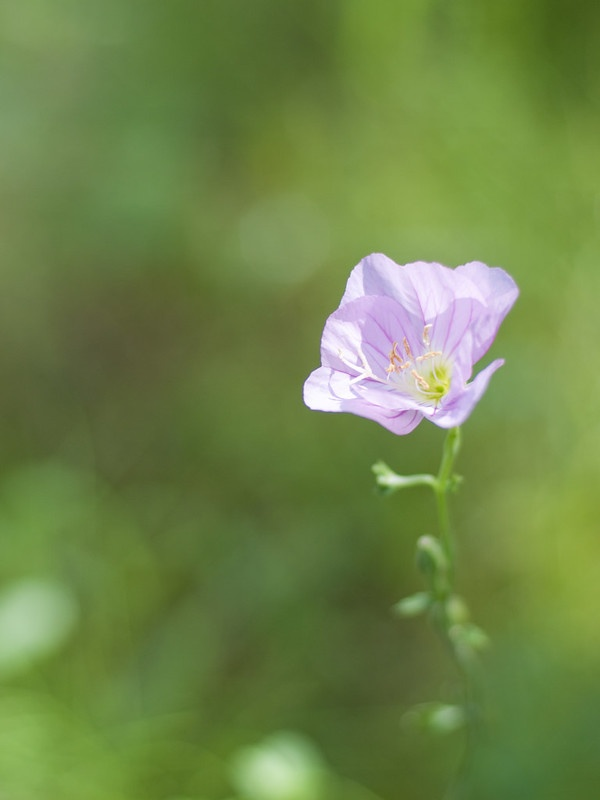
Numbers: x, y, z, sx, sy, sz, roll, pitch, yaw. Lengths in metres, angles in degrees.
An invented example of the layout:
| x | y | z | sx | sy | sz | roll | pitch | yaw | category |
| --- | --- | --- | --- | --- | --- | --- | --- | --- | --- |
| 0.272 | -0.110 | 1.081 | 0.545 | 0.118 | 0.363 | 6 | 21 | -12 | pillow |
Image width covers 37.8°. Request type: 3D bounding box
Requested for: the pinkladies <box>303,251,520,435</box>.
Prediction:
| x | y | z | sx | sy | sz | roll | pitch | yaw | category |
| --- | --- | --- | --- | --- | --- | --- | --- | --- | --- |
| 0.075 | -0.037 | 0.614 | 0.144 | 0.111 | 0.110 | 3 | 23 | 11 | pinkladies |
